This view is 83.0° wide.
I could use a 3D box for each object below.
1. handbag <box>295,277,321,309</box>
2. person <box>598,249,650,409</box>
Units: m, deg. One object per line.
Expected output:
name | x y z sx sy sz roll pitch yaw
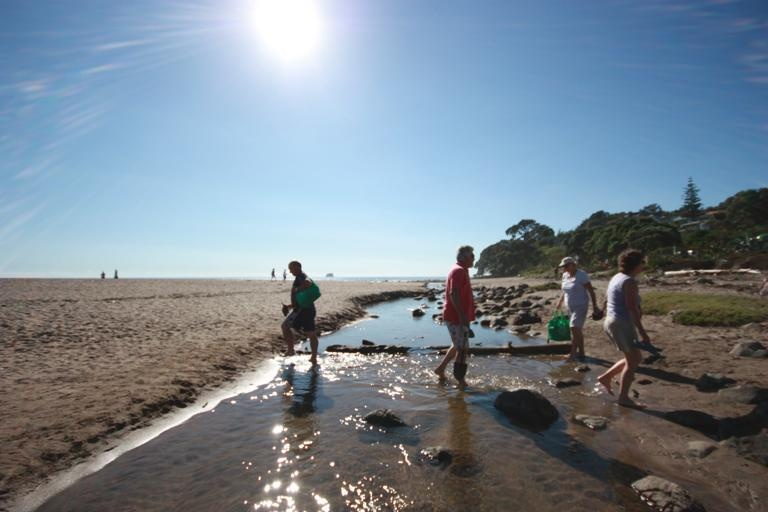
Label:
handbag | -2.311 1.163 13.046 0.707 0.731 0.415 -2 1 -17
person | 5.537 1.682 10.115 0.975 3.614 1.398 -2 1 24
